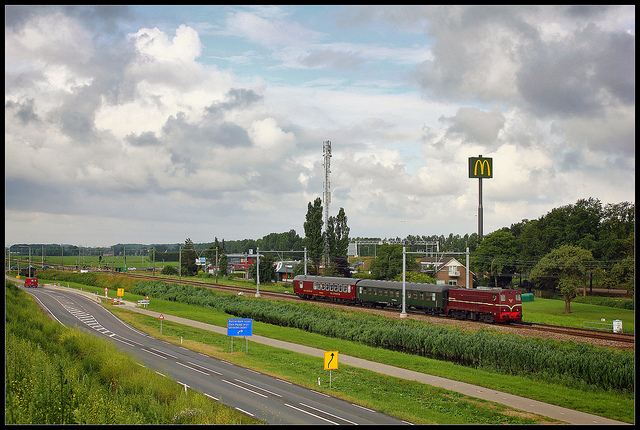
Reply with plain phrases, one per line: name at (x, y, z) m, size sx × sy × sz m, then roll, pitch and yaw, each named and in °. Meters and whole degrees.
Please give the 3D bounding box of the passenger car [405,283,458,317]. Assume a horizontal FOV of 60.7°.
passenger car at (15.139, 11.944, 77.757) m, size 2.980 × 4.036 × 11.811 m, roll 4°, pitch -7°, yaw -22°

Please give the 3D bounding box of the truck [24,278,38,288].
truck at (-55.732, 12.908, 105.269) m, size 2.123 × 1.757 × 1.653 m, roll 0°, pitch 3°, yaw -34°

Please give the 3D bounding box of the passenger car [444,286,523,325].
passenger car at (21.081, 11.442, 72.095) m, size 4.054 × 5.012 × 10.841 m, roll 2°, pitch -5°, yaw -27°
